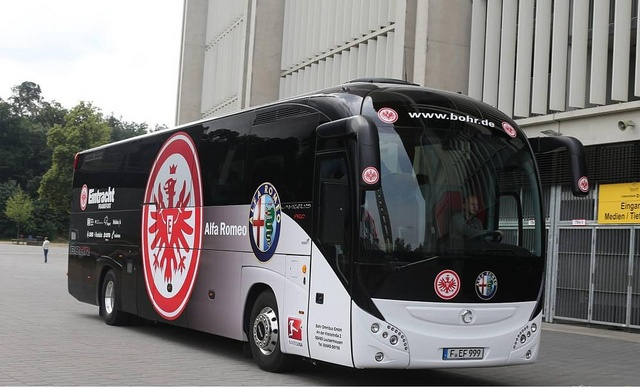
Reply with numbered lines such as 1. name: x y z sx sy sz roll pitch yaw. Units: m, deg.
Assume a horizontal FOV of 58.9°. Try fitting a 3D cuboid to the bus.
1. bus: -2.263 0.906 14.715 4.935 5.378 14.262 4 -6 -32
